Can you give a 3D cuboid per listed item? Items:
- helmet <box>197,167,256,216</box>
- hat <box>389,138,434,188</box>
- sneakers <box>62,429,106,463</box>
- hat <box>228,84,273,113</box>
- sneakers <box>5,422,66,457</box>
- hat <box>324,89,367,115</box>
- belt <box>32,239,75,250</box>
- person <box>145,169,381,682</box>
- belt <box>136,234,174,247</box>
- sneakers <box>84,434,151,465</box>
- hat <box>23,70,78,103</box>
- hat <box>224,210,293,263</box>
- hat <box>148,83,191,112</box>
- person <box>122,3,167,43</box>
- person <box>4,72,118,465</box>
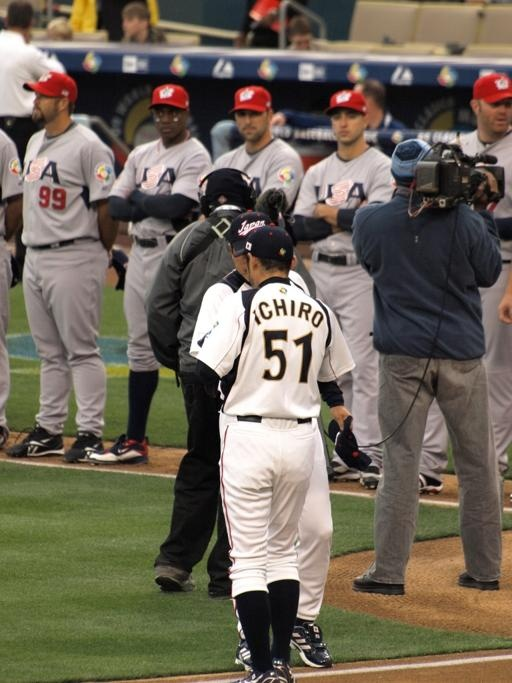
[{"bbox_3d":[-0.123,-0.602,5.198,0.196,0.162,0.195,-2,-6,-2],"label":"helmet"},{"bbox_3d":[0.610,-0.706,5.059,0.151,0.188,0.177,3,3,6],"label":"hat"},{"bbox_3d":[-0.995,0.611,7.366,0.108,0.152,0.302,-5,-5,33],"label":"sneakers"},{"bbox_3d":[-0.019,-1.413,7.506,0.228,0.161,0.231,1,7,-15],"label":"hat"},{"bbox_3d":[-1.261,0.593,7.432,0.357,0.160,0.123,4,-4,-39],"label":"sneakers"},{"bbox_3d":[0.509,-1.361,7.305,0.219,0.142,0.332,3,7,0],"label":"hat"},{"bbox_3d":[-1.183,-0.549,7.332,0.296,0.079,0.102,8,9,36],"label":"belt"},{"bbox_3d":[-0.081,0.194,4.806,0.678,1.673,1.521,2,7,-5],"label":"person"},{"bbox_3d":[-0.609,-0.586,7.575,0.150,0.046,0.147,-2,-1,-36],"label":"belt"},{"bbox_3d":[-0.800,0.625,7.357,0.362,0.179,0.133,2,-2,-13],"label":"sneakers"},{"bbox_3d":[-1.162,-1.445,7.282,0.297,0.156,0.203,10,14,-17],"label":"hat"},{"bbox_3d":[0.010,-0.363,4.239,0.144,0.127,0.217,-7,35,-17],"label":"hat"},{"bbox_3d":[-0.516,-1.428,7.526,0.222,0.153,0.272,2,7,-5],"label":"hat"},{"bbox_3d":[-1.270,-3.525,14.277,0.453,0.441,0.893,2,7,-4],"label":"person"},{"bbox_3d":[-1.112,-0.426,7.403,0.566,2.207,0.505,2,8,-4],"label":"person"}]
